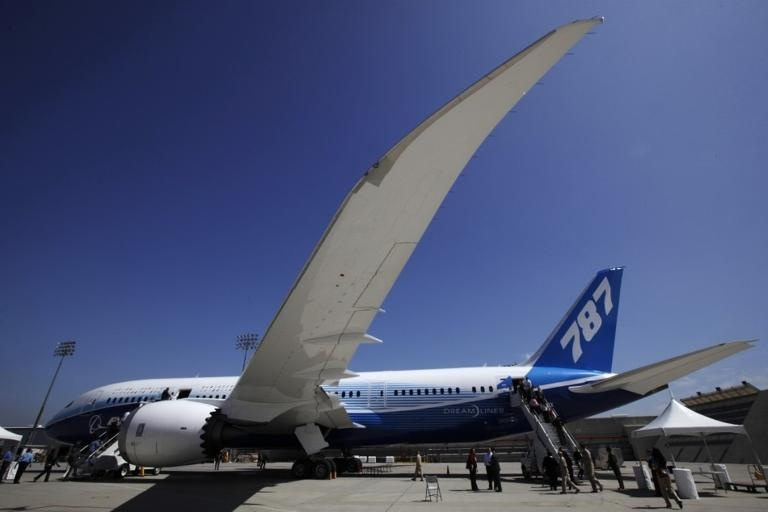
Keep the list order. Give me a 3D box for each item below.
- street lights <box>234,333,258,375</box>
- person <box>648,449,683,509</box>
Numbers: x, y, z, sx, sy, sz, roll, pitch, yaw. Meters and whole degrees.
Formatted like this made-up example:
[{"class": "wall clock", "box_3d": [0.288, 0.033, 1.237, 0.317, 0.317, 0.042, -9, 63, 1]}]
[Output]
[{"class": "street lights", "box_3d": [-6.133, 4.357, 22.558, 0.935, 0.328, 1.939, 2, -68, -24]}, {"class": "person", "box_3d": [8.223, 6.561, 15.141, 1.034, 1.731, 0.465, 16, -44, -32]}]
